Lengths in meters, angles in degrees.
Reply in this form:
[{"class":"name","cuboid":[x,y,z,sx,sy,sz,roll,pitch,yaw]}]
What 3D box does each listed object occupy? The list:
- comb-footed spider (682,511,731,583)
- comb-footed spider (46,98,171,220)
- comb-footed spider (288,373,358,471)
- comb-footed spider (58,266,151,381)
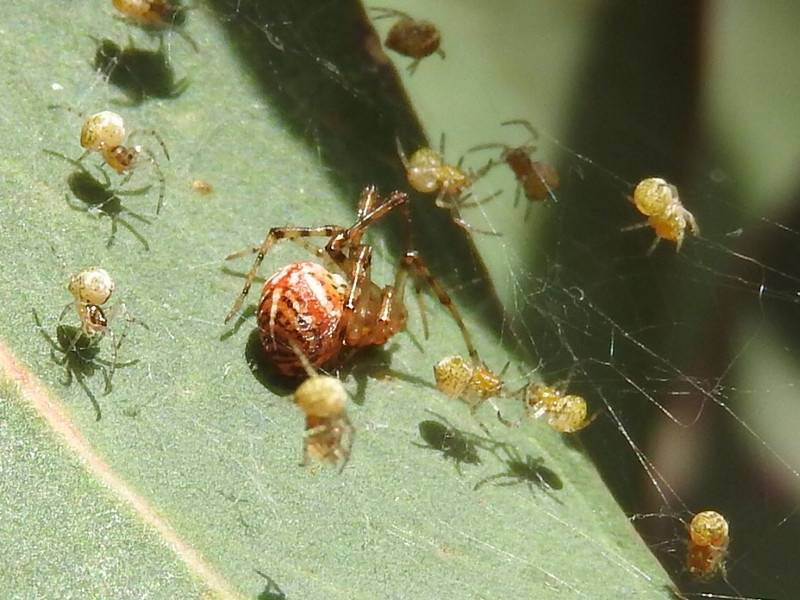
[{"class":"comb-footed spider","cuboid":[1.316,1.045,3.631,0.134,0.166,0.299,53,42,-45]},{"class":"comb-footed spider","cuboid":[-1.234,-0.656,3.800,0.561,0.205,0.343,39,58,-25]},{"class":"comb-footed spider","cuboid":[-0.298,0.493,3.445,0.286,0.274,0.229,21,29,-15]},{"class":"comb-footed spider","cuboid":[-1.227,0.045,3.414,0.259,0.130,0.399,11,36,-22]}]
